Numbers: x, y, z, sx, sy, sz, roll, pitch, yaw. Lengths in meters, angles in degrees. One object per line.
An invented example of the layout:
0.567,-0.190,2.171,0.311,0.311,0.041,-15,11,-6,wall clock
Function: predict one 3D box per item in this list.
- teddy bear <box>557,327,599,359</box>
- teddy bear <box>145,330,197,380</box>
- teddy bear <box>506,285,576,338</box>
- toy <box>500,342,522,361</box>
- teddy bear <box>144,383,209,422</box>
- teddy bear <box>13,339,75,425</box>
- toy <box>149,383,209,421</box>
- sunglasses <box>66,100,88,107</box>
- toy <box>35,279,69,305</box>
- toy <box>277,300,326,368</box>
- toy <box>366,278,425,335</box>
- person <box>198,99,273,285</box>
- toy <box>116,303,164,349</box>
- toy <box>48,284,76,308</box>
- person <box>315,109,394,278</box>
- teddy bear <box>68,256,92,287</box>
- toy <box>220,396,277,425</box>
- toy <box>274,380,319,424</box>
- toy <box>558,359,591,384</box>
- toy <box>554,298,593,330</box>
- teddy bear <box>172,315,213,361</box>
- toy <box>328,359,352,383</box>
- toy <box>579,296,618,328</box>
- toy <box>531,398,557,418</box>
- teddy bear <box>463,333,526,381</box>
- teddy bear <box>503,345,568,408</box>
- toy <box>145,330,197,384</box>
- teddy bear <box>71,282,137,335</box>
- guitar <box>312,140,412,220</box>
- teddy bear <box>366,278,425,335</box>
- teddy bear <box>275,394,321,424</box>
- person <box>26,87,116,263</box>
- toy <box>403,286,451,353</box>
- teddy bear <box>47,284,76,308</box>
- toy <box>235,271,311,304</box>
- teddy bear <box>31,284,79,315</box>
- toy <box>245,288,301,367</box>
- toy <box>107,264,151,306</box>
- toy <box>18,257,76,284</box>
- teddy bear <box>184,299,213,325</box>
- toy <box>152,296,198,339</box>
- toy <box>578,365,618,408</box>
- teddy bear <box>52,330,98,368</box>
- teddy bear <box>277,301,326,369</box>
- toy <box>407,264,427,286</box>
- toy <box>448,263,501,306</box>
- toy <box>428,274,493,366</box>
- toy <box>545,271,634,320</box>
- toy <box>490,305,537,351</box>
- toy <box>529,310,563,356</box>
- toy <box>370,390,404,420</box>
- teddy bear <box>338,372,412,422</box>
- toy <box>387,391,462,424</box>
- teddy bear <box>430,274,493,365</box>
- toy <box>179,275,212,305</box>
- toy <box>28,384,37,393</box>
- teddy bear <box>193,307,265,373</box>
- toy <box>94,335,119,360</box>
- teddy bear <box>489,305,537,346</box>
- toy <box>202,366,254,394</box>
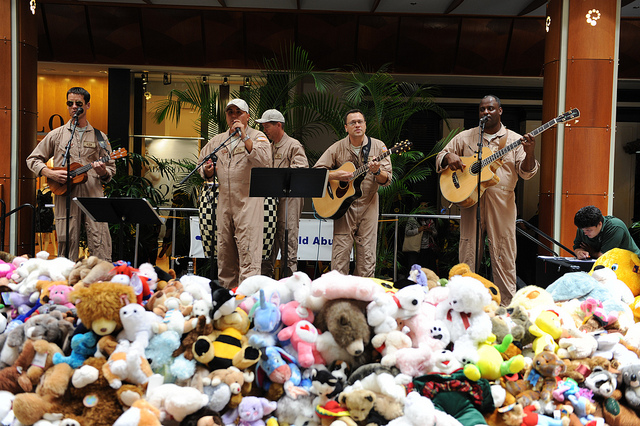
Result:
1.888,0.943,4.278,0.250,0.141,0.316,17,-34,-35,teddy bear
-1.036,1.016,4.247,0.321,0.287,0.182,36,-17,1,teddy bear
1.644,0.804,4.568,0.597,0.287,0.480,3,6,25,teddy bear
1.351,0.980,4.220,0.100,0.136,0.045,42,-10,-6,toy
-0.955,1.249,4.034,0.325,0.198,0.237,13,1,-4,teddy bear
-1.869,1.135,4.062,0.376,0.530,0.198,2,2,-16,teddy bear
-0.954,1.248,4.033,0.316,0.182,0.221,4,2,0,toy
-2.688,-1.186,6.580,0.172,0.075,0.126,2,2,-21,sunglasses
-2.033,0.548,4.496,0.083,0.129,0.266,24,30,-4,toy
-0.126,0.828,4.267,0.391,0.489,0.177,0,-40,-33,toy
0.526,0.633,4.278,0.434,0.201,0.332,-25,44,-19,toy
-0.905,-0.207,6.228,0.721,1.941,0.620,2,2,8,person
-1.309,0.798,4.257,0.267,0.314,0.493,2,1,2,toy
-1.906,0.597,4.386,0.226,0.169,0.138,2,-16,3,toy
0.400,-0.210,6.597,0.740,1.828,0.565,3,2,19,person
-1.801,0.441,4.534,0.082,0.224,0.162,9,-15,31,teddy bear
-0.481,1.350,4.107,0.380,0.178,0.264,6,-36,-36,toy
-0.174,1.312,4.201,0.234,0.297,0.141,25,-10,-5,toy
1.802,1.103,4.219,0.159,0.170,0.064,22,-33,17,toy
1.946,0.757,4.550,0.135,0.191,0.059,-23,-43,0,toy
-0.888,0.864,4.174,0.228,0.302,0.118,31,-28,-12,teddy bear
0.137,1.079,4.210,0.123,0.161,0.156,18,15,-31,toy
2.089,0.742,4.481,0.261,0.179,0.182,3,2,25,toy
1.555,1.331,4.158,0.119,0.129,0.045,18,10,-5,toy
1.214,1.003,4.238,0.412,0.228,0.433,-7,19,16,teddy bear
1.492,1.131,4.157,0.436,0.308,0.140,2,2,-7,teddy bear
-1.050,0.988,4.124,0.289,0.359,0.150,10,-4,-18,toy
-1.486,0.636,4.161,0.381,0.406,0.333,-4,-8,-7,teddy bear
0.373,-0.249,6.528,1.243,0.580,0.183,-36,-27,20,guitar
0.526,0.615,4.289,0.436,0.205,0.367,-25,46,-15,teddy bear
-0.157,1.357,4.199,0.251,0.138,0.191,2,-6,1,teddy bear
-2.746,-0.428,6.796,0.934,1.966,0.749,3,2,38,person
0.764,0.751,4.322,0.277,0.486,0.178,17,-11,-13,toy
-1.906,0.610,4.453,0.227,0.171,0.138,1,-12,3,teddy bear
-0.329,0.578,4.502,0.578,0.243,0.402,-4,0,-3,toy
-1.919,0.633,4.356,0.181,0.213,0.103,0,-31,-2,teddy bear
-0.373,0.824,4.354,0.459,0.679,0.400,1,12,7,toy
-1.363,0.532,4.365,0.315,0.361,0.243,6,7,5,toy
-2.111,0.425,4.618,0.261,0.080,0.220,3,9,0,toy
-0.849,0.680,4.232,0.194,0.175,0.138,1,-9,12,teddy bear
-1.025,0.739,4.282,0.250,0.286,0.124,-1,-35,-9,toy
2.004,1.146,4.223,0.166,0.185,0.176,38,36,19,toy
-1.641,0.937,4.124,0.320,0.275,0.175,-8,-13,-16,teddy bear
-0.135,0.828,4.221,0.152,0.408,0.342,-35,-22,35,teddy bear
0.760,0.477,4.606,0.114,0.064,0.154,22,7,-2,toy
1.160,0.546,4.612,0.408,0.163,0.371,17,31,38,toy
0.991,0.776,4.210,0.345,0.620,0.492,10,-8,-43,toy
2.097,0.616,4.715,0.399,0.153,0.393,18,6,-39,toy
1.394,0.827,4.357,0.291,0.301,0.227,-33,-27,14,toy
1.619,0.867,4.282,0.207,0.117,0.312,20,32,20,toy
0.458,1.295,4.033,0.191,0.062,0.126,31,8,-2,toy
0.389,1.232,4.037,0.298,0.180,0.388,-12,11,29,teddy bear
0.696,1.307,3.958,0.230,0.153,0.317,5,-11,-21,toy
0.996,0.773,4.210,0.325,0.579,0.493,10,-8,-42,teddy bear
-0.936,0.558,4.482,0.176,0.107,0.237,6,11,-8,toy
-1.954,1.195,4.065,0.035,0.037,0.009,40,3,16,toy
-0.634,0.887,4.169,0.486,0.421,0.185,2,2,-16,teddy bear
-1.471,0.921,4.113,0.107,0.153,0.068,22,-3,25,toy
1.385,0.797,4.300,0.254,0.140,0.275,2,40,6,teddy bear
-0.641,1.126,4.110,0.231,0.099,0.179,-3,4,16,toy
